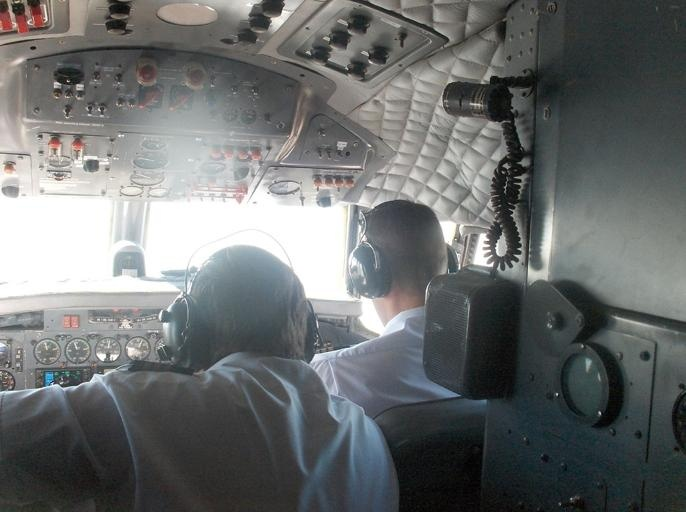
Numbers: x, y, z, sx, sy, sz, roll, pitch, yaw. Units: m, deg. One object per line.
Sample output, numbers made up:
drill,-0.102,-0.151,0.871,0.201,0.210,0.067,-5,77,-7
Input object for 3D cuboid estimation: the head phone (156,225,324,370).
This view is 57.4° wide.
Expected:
head phone,-0.244,0.136,1.559,0.410,0.315,0.250,0,-2,-25
